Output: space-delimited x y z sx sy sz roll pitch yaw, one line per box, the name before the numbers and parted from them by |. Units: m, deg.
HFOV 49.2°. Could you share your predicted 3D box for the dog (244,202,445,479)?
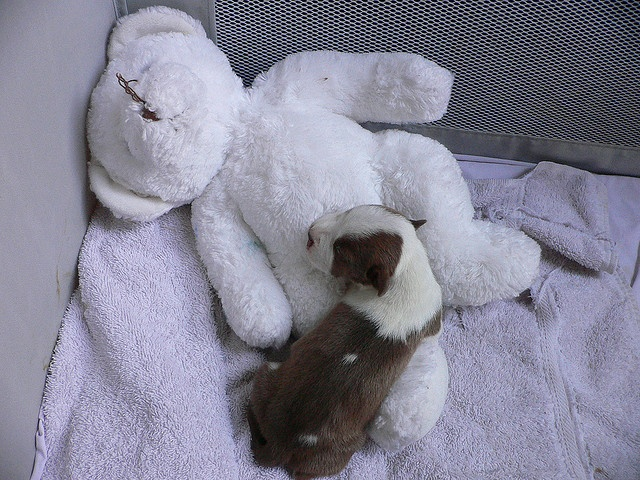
dog | 0.035 0.190 1.683 0.348 0.301 0.659 29 88 -21
